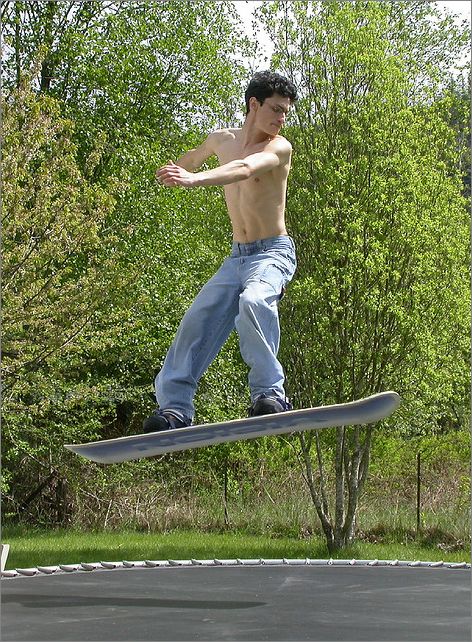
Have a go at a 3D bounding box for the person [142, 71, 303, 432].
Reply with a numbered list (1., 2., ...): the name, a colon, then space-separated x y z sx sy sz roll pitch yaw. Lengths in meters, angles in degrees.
1. person: -0.085 -0.494 6.381 0.900 2.420 1.007 -1 -5 9

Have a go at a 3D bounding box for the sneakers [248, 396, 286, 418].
1. sneakers: 0.188 0.545 6.201 0.121 0.081 0.194 -4 -3 27

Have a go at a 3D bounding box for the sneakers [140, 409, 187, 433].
1. sneakers: -0.448 0.644 6.281 0.344 0.140 0.117 2 -2 -39
